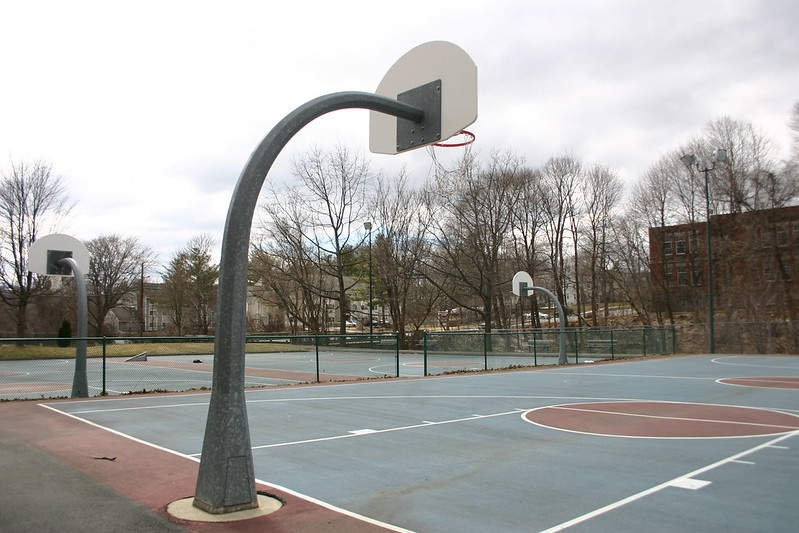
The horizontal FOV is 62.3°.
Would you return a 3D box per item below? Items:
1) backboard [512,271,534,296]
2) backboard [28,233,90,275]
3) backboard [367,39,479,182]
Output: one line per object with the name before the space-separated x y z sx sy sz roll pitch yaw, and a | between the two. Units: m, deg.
backboard | 6.691 0.915 35.790 0.235 1.507 1.801 -9 -10 44
backboard | -9.906 -0.308 19.196 1.786 1.400 0.236 2 -4 -30
backboard | 0.359 -2.846 10.983 2.240 1.836 0.163 -7 -11 40
